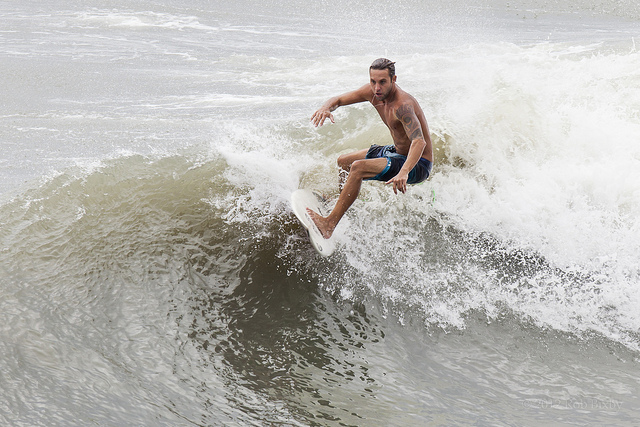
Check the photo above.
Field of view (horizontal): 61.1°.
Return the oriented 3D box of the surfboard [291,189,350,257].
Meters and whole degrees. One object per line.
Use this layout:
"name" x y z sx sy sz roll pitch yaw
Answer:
"surfboard" -0.097 0.091 8.068 0.163 1.143 0.715 -30 4 44
